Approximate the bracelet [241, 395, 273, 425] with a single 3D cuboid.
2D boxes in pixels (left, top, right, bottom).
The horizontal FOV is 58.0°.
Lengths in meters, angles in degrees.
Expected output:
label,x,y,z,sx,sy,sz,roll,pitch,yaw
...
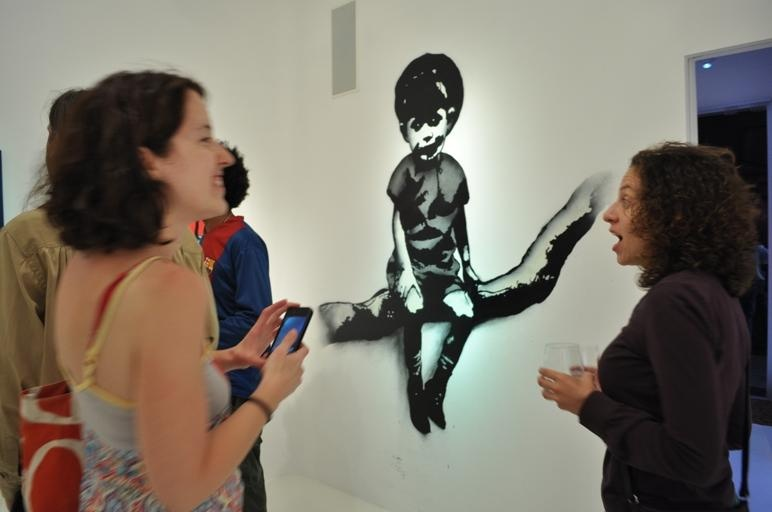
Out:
label,x,y,z,sx,sy,sz,roll,pitch,yaw
bracelet,-0.415,0.504,2.295,0.082,0.067,0.086,-1,-6,10
